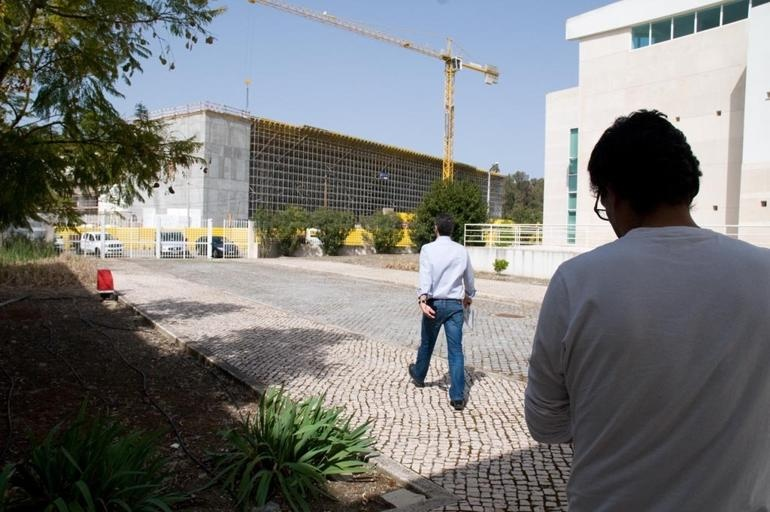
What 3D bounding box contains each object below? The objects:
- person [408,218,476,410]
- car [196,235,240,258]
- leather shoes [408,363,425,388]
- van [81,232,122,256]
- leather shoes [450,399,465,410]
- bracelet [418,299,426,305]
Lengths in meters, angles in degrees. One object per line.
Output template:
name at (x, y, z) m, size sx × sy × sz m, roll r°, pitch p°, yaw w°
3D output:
person at (0.635, 0.622, 6.687) m, size 0.756 × 2.168 × 0.524 m, roll -9°, pitch -14°, yaw 20°
car at (-9.776, -0.495, 34.505) m, size 2.014 × 0.901 × 1.117 m, roll -2°, pitch 4°, yaw -15°
leather shoes at (0.364, 1.431, 7.107) m, size 0.106 × 0.135 × 0.323 m, roll 7°, pitch 16°, yaw -11°
van at (-14.941, -0.561, 31.297) m, size 2.115 × 1.190 × 1.293 m, roll 0°, pitch 2°, yaw 40°
leather shoes at (0.781, 1.597, 6.353) m, size 0.169 × 0.108 × 0.152 m, roll -4°, pitch -14°, yaw -5°
bracelet at (0.408, 0.513, 6.616) m, size 0.033 × 0.055 × 0.105 m, roll 5°, pitch -18°, yaw -35°
